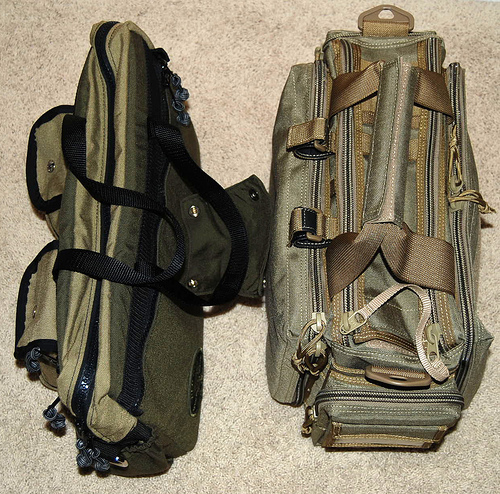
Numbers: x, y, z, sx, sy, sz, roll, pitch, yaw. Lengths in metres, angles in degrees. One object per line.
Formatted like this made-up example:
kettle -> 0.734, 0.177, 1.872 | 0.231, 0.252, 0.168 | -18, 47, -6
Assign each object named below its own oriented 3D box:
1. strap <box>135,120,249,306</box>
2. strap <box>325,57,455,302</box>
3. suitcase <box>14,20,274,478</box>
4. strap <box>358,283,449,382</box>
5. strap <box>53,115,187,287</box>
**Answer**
strap -> -0.097, -0.044, 1.143 | 0.152, 0.061, 0.297 | -20, 95, -28
strap -> 0.208, -0.098, 1.023 | 0.175, 0.114, 0.375 | 3, 86, 0
suitcase -> -0.191, -0.018, 1.166 | 0.346, 0.342, 0.685 | 1, 69, -2
strap -> 0.243, 0.129, 1.050 | 0.109, 0.024, 0.147 | -36, 77, -1
strap -> -0.190, -0.063, 1.037 | 0.190, 0.133, 0.235 | 2, 50, 0
